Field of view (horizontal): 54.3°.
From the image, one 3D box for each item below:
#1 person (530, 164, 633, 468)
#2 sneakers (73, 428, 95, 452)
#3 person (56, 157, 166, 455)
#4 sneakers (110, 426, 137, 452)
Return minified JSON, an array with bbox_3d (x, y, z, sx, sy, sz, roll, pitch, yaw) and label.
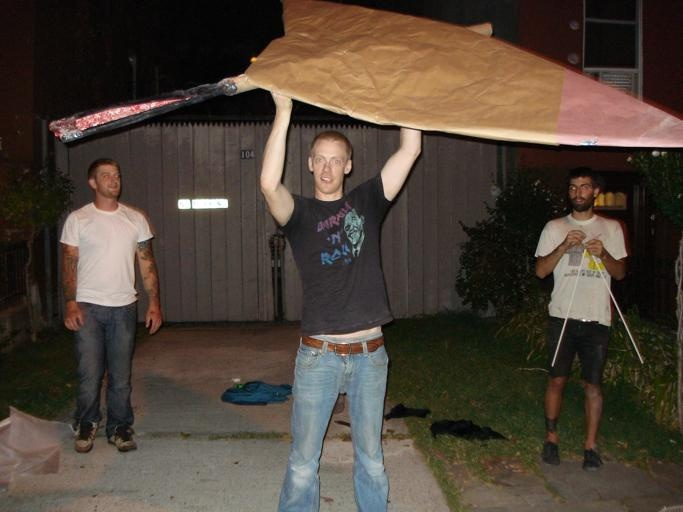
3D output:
[{"bbox_3d":[2.322,0.602,6.583,0.845,2.878,0.659,5,10,22],"label":"person"},{"bbox_3d":[-2.619,1.863,6.788,0.189,0.193,0.270,-2,12,-16],"label":"sneakers"},{"bbox_3d":[-2.383,0.487,6.865,0.920,2.858,0.729,-4,10,-27],"label":"person"},{"bbox_3d":[-2.251,1.872,6.814,0.270,0.185,0.305,-4,13,-26],"label":"sneakers"}]
